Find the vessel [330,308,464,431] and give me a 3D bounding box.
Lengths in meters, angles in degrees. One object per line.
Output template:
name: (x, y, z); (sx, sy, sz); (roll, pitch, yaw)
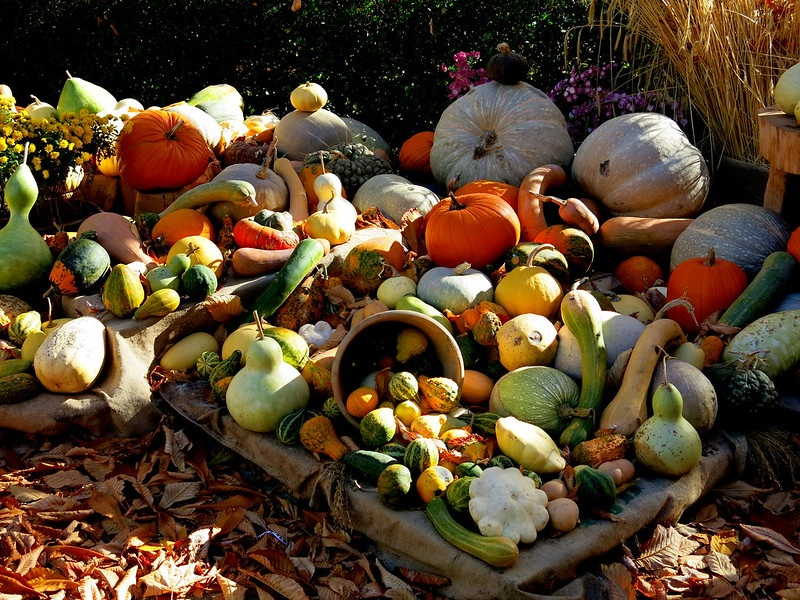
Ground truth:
vessel: (-0.047, 0.469, 4.594); (0.674, 0.765, 0.372); (-13, 7, -1)
